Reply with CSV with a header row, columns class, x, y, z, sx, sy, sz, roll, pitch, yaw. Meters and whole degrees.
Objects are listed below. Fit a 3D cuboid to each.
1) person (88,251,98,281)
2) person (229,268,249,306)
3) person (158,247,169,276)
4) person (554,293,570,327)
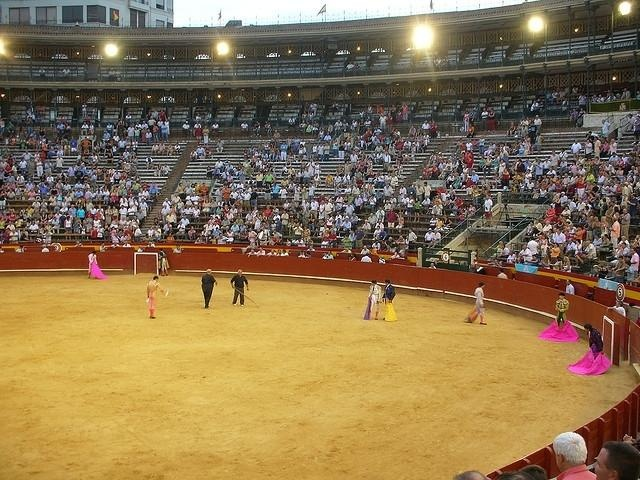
class,x,y,z,sx,sy,sz,roll,pitch,yaw
person,-12.879,1.301,43.569,0.532,1.596,2.403,-2,10,-17
person,-3.683,2.214,35.219,0.760,1.737,0.561,-2,19,-13
person,-9.081,1.258,44.786,0.536,1.563,1.039,-1,10,-8
person,9.525,2.660,30.062,0.436,1.333,1.733,4,10,19
